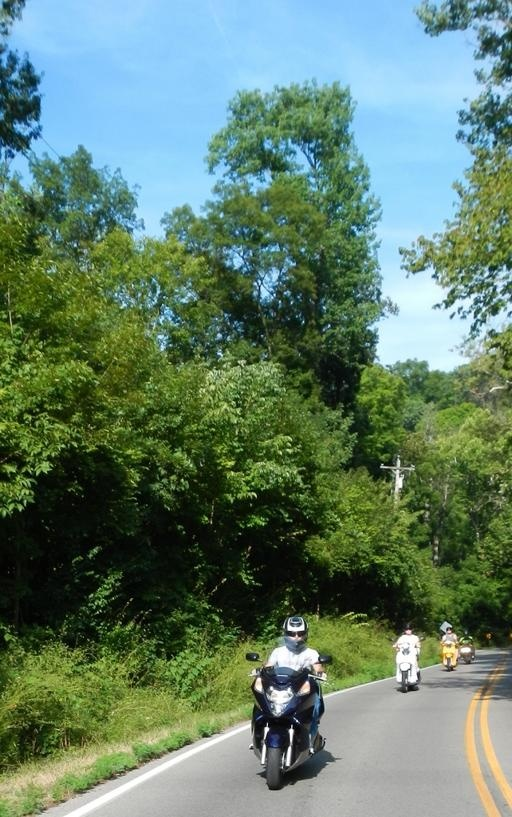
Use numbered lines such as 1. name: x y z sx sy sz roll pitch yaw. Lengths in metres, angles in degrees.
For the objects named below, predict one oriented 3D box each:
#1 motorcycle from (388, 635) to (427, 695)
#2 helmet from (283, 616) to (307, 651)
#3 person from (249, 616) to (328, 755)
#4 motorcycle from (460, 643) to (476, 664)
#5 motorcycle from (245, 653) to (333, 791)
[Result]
1. motorcycle: 3.835 6.505 19.776 0.659 0.972 1.738 -6 -28 9
2. helmet: 0.443 2.529 8.798 0.247 0.324 0.353 1 -22 3
3. person: 0.314 3.326 9.297 0.888 1.435 2.639 4 -5 6
4. motorcycle: 9.238 10.799 34.665 0.574 0.783 1.001 -3 -9 10
5. motorcycle: 0.280 2.963 7.558 0.588 0.816 1.531 -4 -35 7
